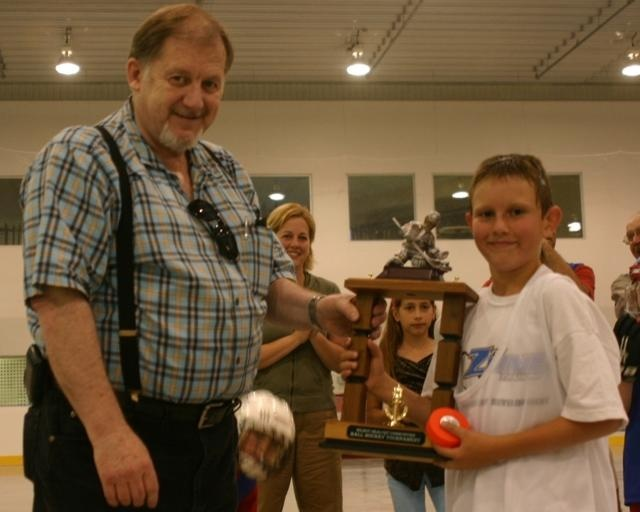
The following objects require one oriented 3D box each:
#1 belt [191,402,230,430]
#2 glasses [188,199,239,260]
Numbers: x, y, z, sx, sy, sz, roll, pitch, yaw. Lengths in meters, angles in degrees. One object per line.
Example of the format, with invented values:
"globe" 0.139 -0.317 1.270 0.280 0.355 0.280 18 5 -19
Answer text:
"belt" -0.314 0.463 1.840 0.058 0.029 0.081 -42 -14 33
"glasses" -0.321 -0.067 1.970 0.092 0.236 0.061 -43 23 -31
